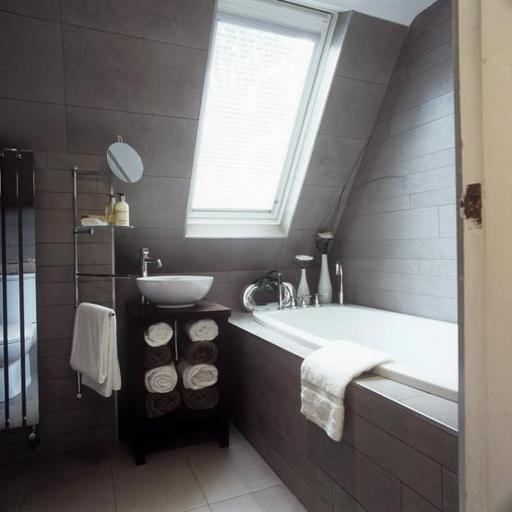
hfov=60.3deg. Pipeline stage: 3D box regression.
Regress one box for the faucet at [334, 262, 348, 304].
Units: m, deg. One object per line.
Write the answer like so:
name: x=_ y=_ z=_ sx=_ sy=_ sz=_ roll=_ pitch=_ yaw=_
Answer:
faucet: x=0.592 y=0.197 z=3.128 sx=0.067 sy=0.302 sz=0.383 roll=0 pitch=4 yaw=10

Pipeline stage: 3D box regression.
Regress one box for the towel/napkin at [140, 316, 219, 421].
towel/napkin: x=-0.380 y=0.574 z=2.279 sx=0.389 sy=0.203 sz=0.457 roll=-1 pitch=44 yaw=-6

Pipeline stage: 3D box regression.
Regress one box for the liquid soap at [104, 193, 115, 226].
liquid soap: x=-0.740 y=-0.240 z=2.246 sx=0.050 sy=0.159 sz=0.113 roll=-2 pitch=4 yaw=-23

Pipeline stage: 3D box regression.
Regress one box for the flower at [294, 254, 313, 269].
flower: x=0.342 y=0.034 z=3.215 sx=0.099 sy=0.073 sz=0.112 roll=2 pitch=-2 yaw=0

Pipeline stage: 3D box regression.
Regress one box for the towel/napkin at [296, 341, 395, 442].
towel/napkin: x=0.328 y=0.493 z=1.675 sx=0.263 sy=0.274 sz=0.273 roll=-3 pitch=5 yaw=-31

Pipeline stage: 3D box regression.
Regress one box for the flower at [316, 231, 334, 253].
flower: x=0.501 y=-0.097 z=3.239 sx=0.128 sy=0.175 sz=0.246 roll=0 pitch=4 yaw=10

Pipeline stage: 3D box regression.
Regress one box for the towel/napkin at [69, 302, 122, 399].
towel/napkin: x=-0.806 y=0.471 z=2.177 sx=0.143 sy=0.516 sz=0.422 roll=-6 pitch=8 yaw=-39

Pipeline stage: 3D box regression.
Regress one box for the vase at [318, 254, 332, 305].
vase: x=0.503 y=0.160 z=3.252 sx=0.098 sy=0.352 sz=0.242 roll=0 pitch=4 yaw=8

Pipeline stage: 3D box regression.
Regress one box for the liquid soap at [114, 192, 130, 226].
liquid soap: x=-0.685 y=-0.232 z=2.240 sx=0.076 sy=0.165 sz=0.155 roll=-2 pitch=4 yaw=-19

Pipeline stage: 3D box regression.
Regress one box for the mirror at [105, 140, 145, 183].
mirror: x=-0.672 y=-0.487 z=2.263 sx=0.184 sy=0.202 sz=0.051 roll=-4 pitch=5 yaw=-41

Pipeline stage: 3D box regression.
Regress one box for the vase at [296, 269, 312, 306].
vase: x=0.345 y=0.214 z=3.240 sx=0.102 sy=0.256 sz=0.396 roll=0 pitch=4 yaw=7
